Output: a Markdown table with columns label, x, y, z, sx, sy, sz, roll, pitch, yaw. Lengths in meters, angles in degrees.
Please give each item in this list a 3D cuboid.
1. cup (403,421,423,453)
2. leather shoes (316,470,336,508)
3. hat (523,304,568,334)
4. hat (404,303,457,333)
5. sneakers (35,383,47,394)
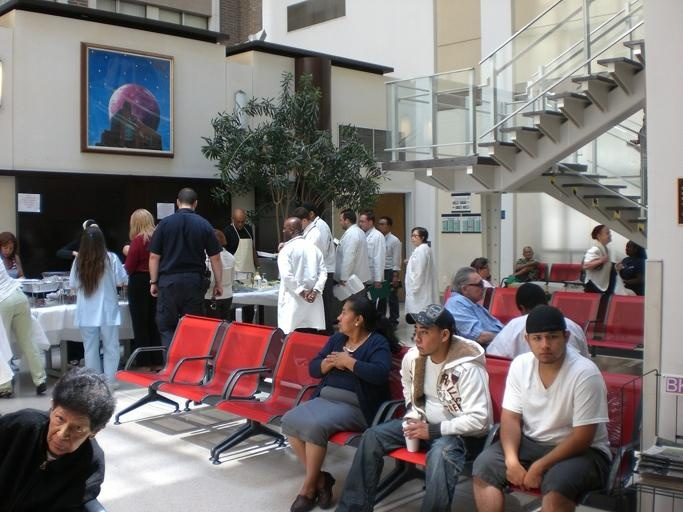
| label | x | y | z | sx | sy | sz | roll | pitch | yaw |
| --- | --- | --- | --- | --- | --- | --- | --- | --- | --- |
| cup | 0.495 | 1.265 | 4.532 | 0.146 | 0.174 | 0.157 | -3 | -1 | 0 |
| leather shoes | -0.102 | 1.742 | 4.826 | 0.100 | 0.264 | 0.090 | 17 | -17 | -29 |
| hat | 1.292 | 0.401 | 4.114 | 0.179 | 0.128 | 0.191 | -2 | -5 | 2 |
| hat | 0.638 | 0.429 | 4.532 | 0.314 | 0.196 | 0.375 | 2 | 4 | 3 |
| sneakers | -3.391 | 1.482 | 7.272 | 0.059 | 0.134 | 0.174 | 1 | 1 | -36 |
